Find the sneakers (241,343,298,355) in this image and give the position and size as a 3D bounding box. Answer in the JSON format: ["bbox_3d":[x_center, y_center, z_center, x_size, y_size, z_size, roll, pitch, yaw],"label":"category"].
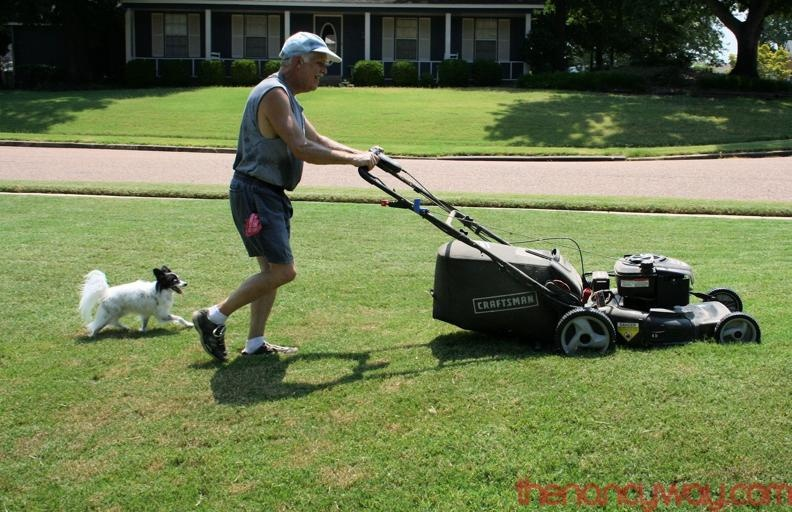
[{"bbox_3d":[-1.139,0.863,6.637,0.512,0.138,0.171,-4,1,-10],"label":"sneakers"}]

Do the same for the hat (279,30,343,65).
[{"bbox_3d":[-0.710,-1.867,6.455,0.574,0.263,0.393,-7,14,-6],"label":"hat"}]
